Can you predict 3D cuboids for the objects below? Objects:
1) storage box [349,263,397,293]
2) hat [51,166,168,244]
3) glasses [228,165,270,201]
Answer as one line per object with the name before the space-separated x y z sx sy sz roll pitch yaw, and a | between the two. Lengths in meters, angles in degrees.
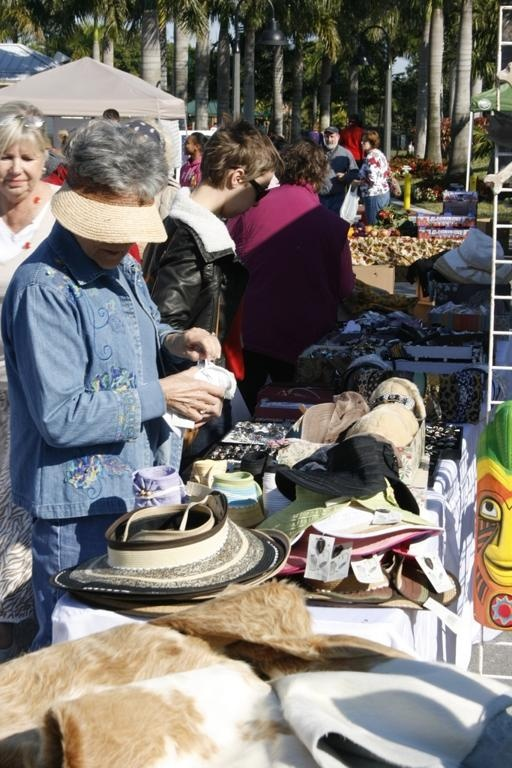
storage box | 1.168 -1.015 7.329 0.548 0.311 0.511 3 14 3
hat | -0.365 -0.415 1.845 0.227 0.093 0.230 -2 21 -35
glasses | -0.032 -0.857 3.148 0.129 0.069 0.130 -6 37 -29
